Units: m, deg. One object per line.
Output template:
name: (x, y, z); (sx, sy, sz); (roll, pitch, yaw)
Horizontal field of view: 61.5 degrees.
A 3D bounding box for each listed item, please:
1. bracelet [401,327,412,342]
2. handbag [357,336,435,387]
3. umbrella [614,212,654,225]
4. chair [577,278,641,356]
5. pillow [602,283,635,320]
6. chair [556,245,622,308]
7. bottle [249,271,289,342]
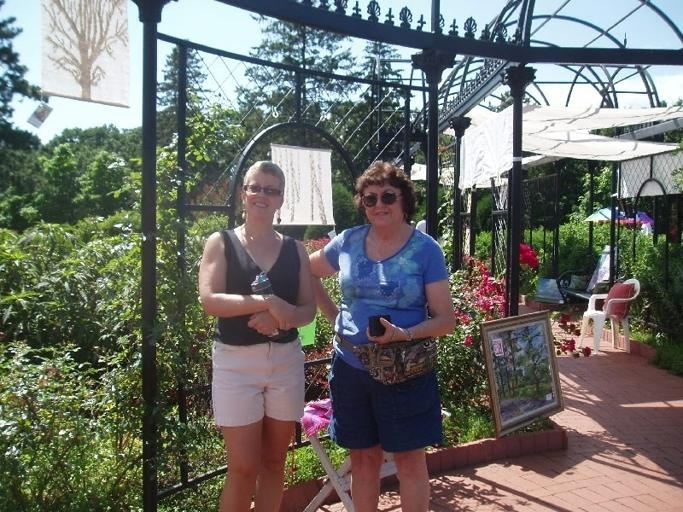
bracelet: (0.438, 0.514, 3.765); (0.053, 0.088, 0.081); (-4, 14, -29)
handbag: (0.391, 0.671, 3.739); (0.338, 0.173, 0.285); (-2, -4, -5)
umbrella: (7.011, -0.910, 13.793); (0.616, 0.296, 0.850); (1, -2, -42)
chair: (4.272, 0.950, 9.236); (0.853, 1.200, 0.884); (3, 5, 37)
pillow: (4.353, 0.698, 8.984); (0.437, 0.582, 0.386); (4, 7, 31)
chair: (5.098, 0.446, 11.816); (0.457, 0.958, 1.196); (2, 4, 2)
bottle: (-0.493, 0.331, 3.836); (0.194, 0.449, 0.187); (0, 6, 0)
